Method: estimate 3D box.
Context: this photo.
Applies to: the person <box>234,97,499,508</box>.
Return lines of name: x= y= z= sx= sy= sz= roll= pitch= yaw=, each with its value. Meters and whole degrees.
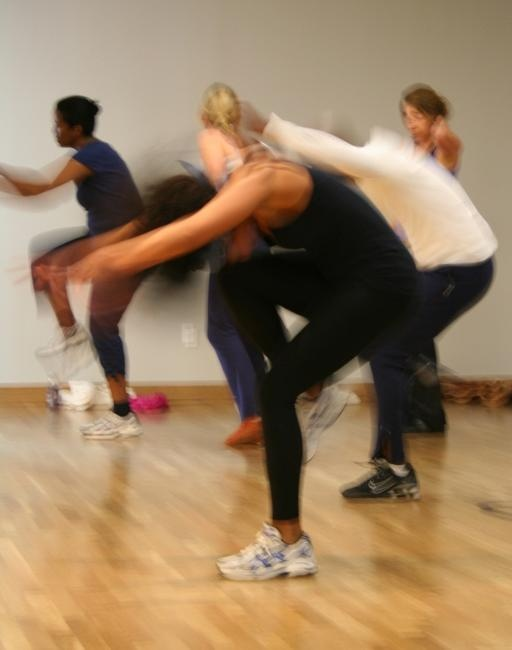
person: x=0.181 y=-0.080 z=1.521 sx=0.863 sy=0.967 sz=0.505 roll=-2 pitch=-3 yaw=-5

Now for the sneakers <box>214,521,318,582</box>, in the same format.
sneakers: x=0.024 y=0.411 z=1.114 sx=0.215 sy=0.098 sz=0.078 roll=-1 pitch=0 yaw=-8

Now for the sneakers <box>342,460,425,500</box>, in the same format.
sneakers: x=0.331 y=0.407 z=1.591 sx=0.245 sy=0.101 sz=0.075 roll=-4 pitch=12 yaw=10
